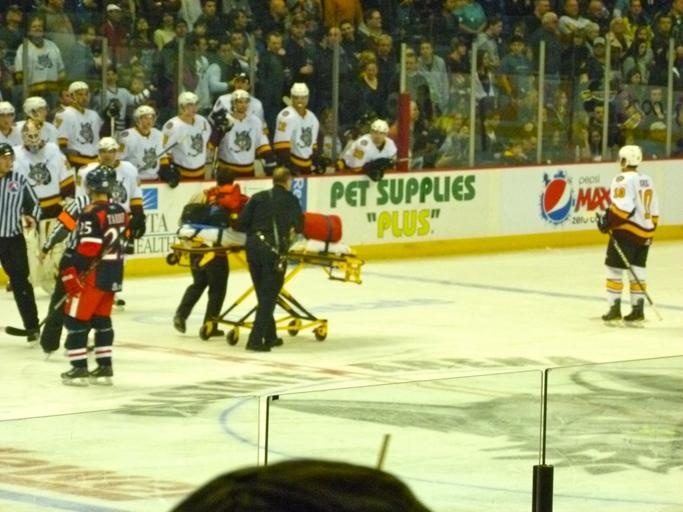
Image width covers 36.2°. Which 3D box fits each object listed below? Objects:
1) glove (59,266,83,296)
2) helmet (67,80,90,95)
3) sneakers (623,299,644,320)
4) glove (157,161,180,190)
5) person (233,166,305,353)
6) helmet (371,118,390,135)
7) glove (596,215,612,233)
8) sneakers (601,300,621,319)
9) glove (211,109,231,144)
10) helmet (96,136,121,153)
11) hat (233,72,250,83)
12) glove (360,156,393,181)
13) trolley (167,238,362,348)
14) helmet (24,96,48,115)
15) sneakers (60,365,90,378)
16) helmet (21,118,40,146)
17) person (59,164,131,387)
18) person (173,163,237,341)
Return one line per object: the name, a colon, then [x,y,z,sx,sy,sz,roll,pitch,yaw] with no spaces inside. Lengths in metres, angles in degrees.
glove: [-2.022,0.190,7.886,0.165,0.207,0.079,-23,2,15]
helmet: [-3.125,-1.990,12.385,0.192,0.115,0.190,-2,7,29]
sneakers: [3.062,0.584,10.960,0.204,0.229,0.203,1,3,14]
glove: [-2.106,-0.984,12.884,0.240,0.303,0.132,-28,18,28]
person: [-0.632,0.036,9.471,0.554,1.651,0.401,-2,3,-44]
helmet: [0.518,-1.779,14.429,0.226,0.208,0.287,0,3,-2]
glove: [2.790,-0.318,11.086,0.077,0.194,0.148,3,30,-22]
sneakers: [2.830,0.576,10.958,0.191,0.217,0.220,0,3,13]
glove: [-1.516,-1.607,13.268,0.155,0.331,0.297,8,28,-43]
helmet: [-2.243,-1.063,10.028,0.214,0.146,0.173,-8,-14,-4]
hat: [-1.306,-2.303,13.521,0.188,0.157,0.270,0,3,-4]
glove: [0.481,-1.214,14.539,0.392,0.311,0.284,17,5,-9]
trolley: [-0.683,0.365,9.985,1.912,0.858,0.654,1,-3,-8]
helmet: [-3.399,-1.654,11.520,0.237,0.136,0.211,-15,17,-8]
sneakers: [-2.066,0.901,8.090,0.196,0.074,0.089,4,8,22]
helmet: [-3.225,-1.272,10.842,0.190,0.268,0.399,-1,3,-16]
person: [-1.911,0.154,8.051,0.491,1.680,0.456,-1,2,-15]
person: [-1.270,-0.014,9.802,0.691,1.586,0.531,0,2,-6]
